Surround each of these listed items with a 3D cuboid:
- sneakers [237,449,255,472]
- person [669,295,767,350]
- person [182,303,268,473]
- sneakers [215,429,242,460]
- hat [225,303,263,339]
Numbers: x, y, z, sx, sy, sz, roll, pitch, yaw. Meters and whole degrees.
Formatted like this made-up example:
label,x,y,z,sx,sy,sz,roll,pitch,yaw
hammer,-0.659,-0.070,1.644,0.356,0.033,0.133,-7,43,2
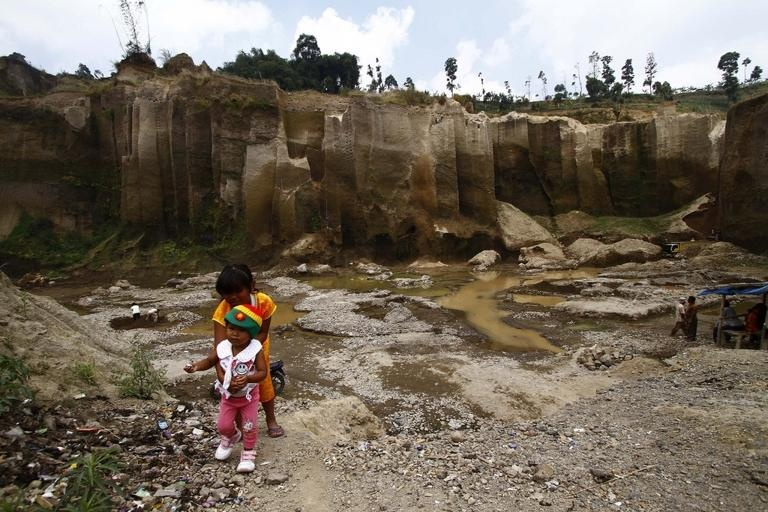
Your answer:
label,x,y,z,sx,sy,sz,roll,pitch,yaw
sneakers,-1.828,2.714,6.174,0.252,0.255,0.176,-3,5,-16
person,8.675,1.717,11.388,1.364,0.435,1.944,-13,15,-31
person,-1.987,1.743,6.321,0.652,2.182,0.532,0,6,27
sneakers,-2.087,2.526,6.379,0.180,0.192,0.490,-18,21,40
hat,-1.829,0.892,6.343,0.413,0.349,0.503,19,-5,29
